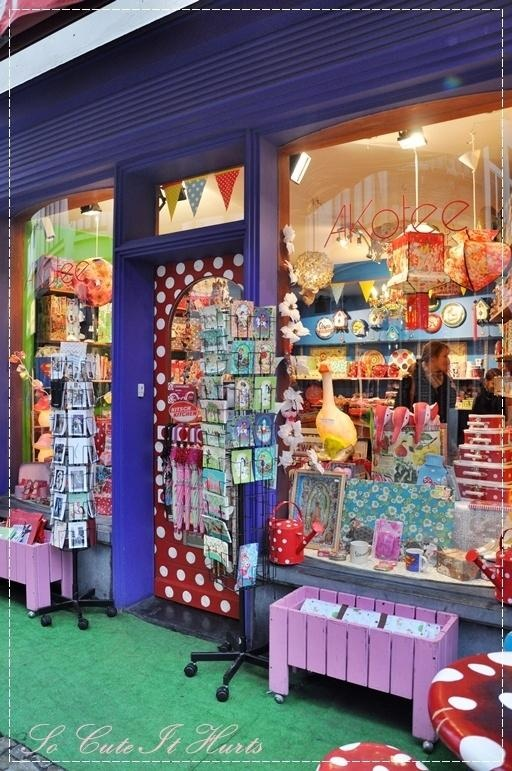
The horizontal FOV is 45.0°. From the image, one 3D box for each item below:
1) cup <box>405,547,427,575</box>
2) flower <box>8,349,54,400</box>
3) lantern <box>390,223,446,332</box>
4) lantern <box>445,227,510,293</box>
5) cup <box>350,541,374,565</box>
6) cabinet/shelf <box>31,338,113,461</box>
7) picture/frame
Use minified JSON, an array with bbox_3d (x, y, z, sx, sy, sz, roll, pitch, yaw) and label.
[{"bbox_3d":[0.690,0.752,2.687,0.086,0.105,0.124,-1,0,14],"label":"cup"},{"bbox_3d":[-1.718,-0.079,4.767,0.130,0.428,0.144,-16,-35,-44],"label":"flower"},{"bbox_3d":[0.725,-0.464,2.787,0.254,0.470,0.105,-1,0,15],"label":"lantern"},{"bbox_3d":[0.934,-0.521,2.606,0.197,0.242,0.282,2,5,3],"label":"lantern"},{"bbox_3d":[0.484,0.759,2.842,0.110,0.104,0.104,-1,0,0],"label":"cup"},{"bbox_3d":[-1.277,0.128,4.250,0.468,0.704,1.509,-1,0,-21],"label":"cabinet/shelf"},{"bbox_3d":[0.317,0.619,3.029,0.032,0.468,0.374,16,-15,-39],"label":"picture/frame"}]
